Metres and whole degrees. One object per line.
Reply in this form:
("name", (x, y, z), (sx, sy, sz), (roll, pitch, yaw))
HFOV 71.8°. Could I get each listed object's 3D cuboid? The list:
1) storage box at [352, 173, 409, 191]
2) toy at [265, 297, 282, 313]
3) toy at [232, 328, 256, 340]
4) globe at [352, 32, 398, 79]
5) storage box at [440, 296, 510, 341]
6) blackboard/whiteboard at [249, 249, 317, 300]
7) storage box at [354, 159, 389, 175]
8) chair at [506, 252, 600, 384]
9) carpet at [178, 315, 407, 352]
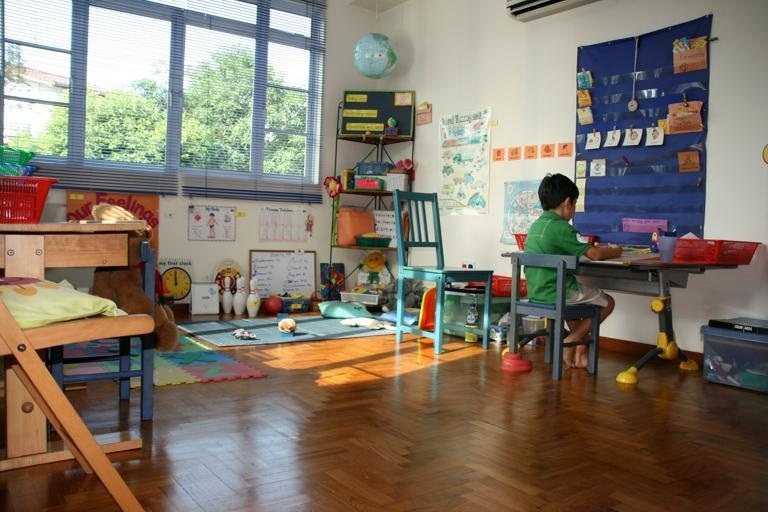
("storage box", (-0.025, -0.819, 6.000), (0.647, 0.193, 0.434), (1, 3, -1))
("toy", (-1.158, 0.502, 5.554), (0.169, 0.160, 0.148), (1, 8, -13))
("toy", (-1.120, 0.622, 4.267), (0.117, 0.042, 0.107), (6, 5, -14))
("globe", (-0.104, -2.104, 5.699), (0.506, 0.323, 0.478), (-5, -14, -2))
("storage box", (0.761, 0.436, 4.570), (0.449, 0.354, 0.535), (0, 1, -29))
("blackboard/whiteboard", (-1.145, 0.201, 5.855), (0.651, 0.400, 0.026), (-1, -1, -33))
("storage box", (-0.113, -1.005, 6.038), (0.414, 0.182, 0.339), (1, 7, -6))
("chair", (1.158, 0.378, 3.668), (0.603, 0.829, 0.505), (9, 10, 38))
("carpet", (-0.924, 0.621, 4.673), (1.566, 0.091, 1.095), (-2, 8, -28))
